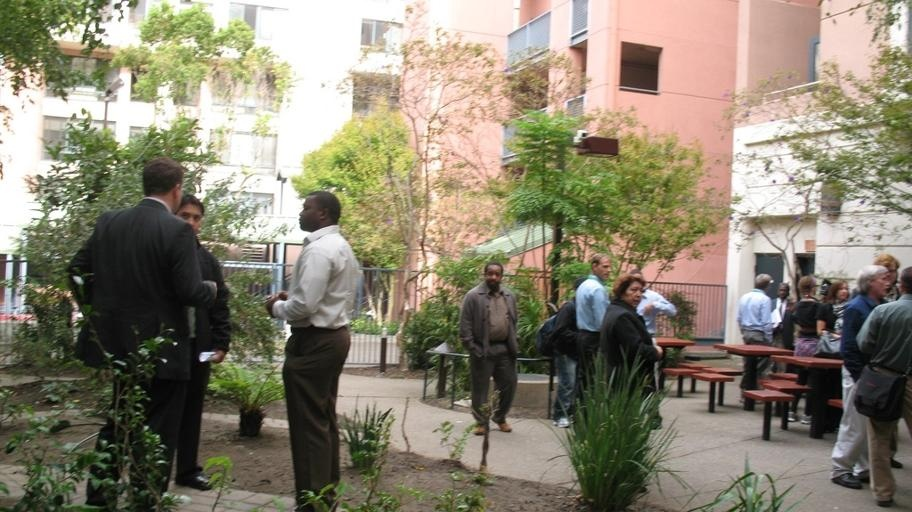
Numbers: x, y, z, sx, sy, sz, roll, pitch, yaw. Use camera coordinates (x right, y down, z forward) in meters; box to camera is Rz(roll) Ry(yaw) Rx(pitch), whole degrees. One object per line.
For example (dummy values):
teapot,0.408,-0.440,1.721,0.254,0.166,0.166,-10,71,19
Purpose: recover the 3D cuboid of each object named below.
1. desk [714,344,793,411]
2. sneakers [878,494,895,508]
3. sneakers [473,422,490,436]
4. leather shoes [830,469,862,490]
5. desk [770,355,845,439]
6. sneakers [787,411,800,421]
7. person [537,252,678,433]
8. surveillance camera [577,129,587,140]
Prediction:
desk,6.330,2.579,16.400,1.681,1.274,1.560,2,2,-31
sneakers,6.114,3.437,10.638,0.351,0.180,0.100,2,0,-20
sneakers,0.395,2.898,12.687,0.139,0.165,0.412,2,-1,-15
leather shoes,5.784,3.306,11.142,0.389,0.126,0.214,-1,-1,39
desk,6.501,2.499,13.960,1.549,1.137,1.359,1,-5,-8
sneakers,6.575,3.127,14.672,0.170,0.146,0.415,0,-10,4
person,2.264,1.471,13.317,0.781,2.739,1.524,2,0,-38
surveillance camera,2.651,-2.566,15.909,0.221,0.204,0.445,2,-1,6
